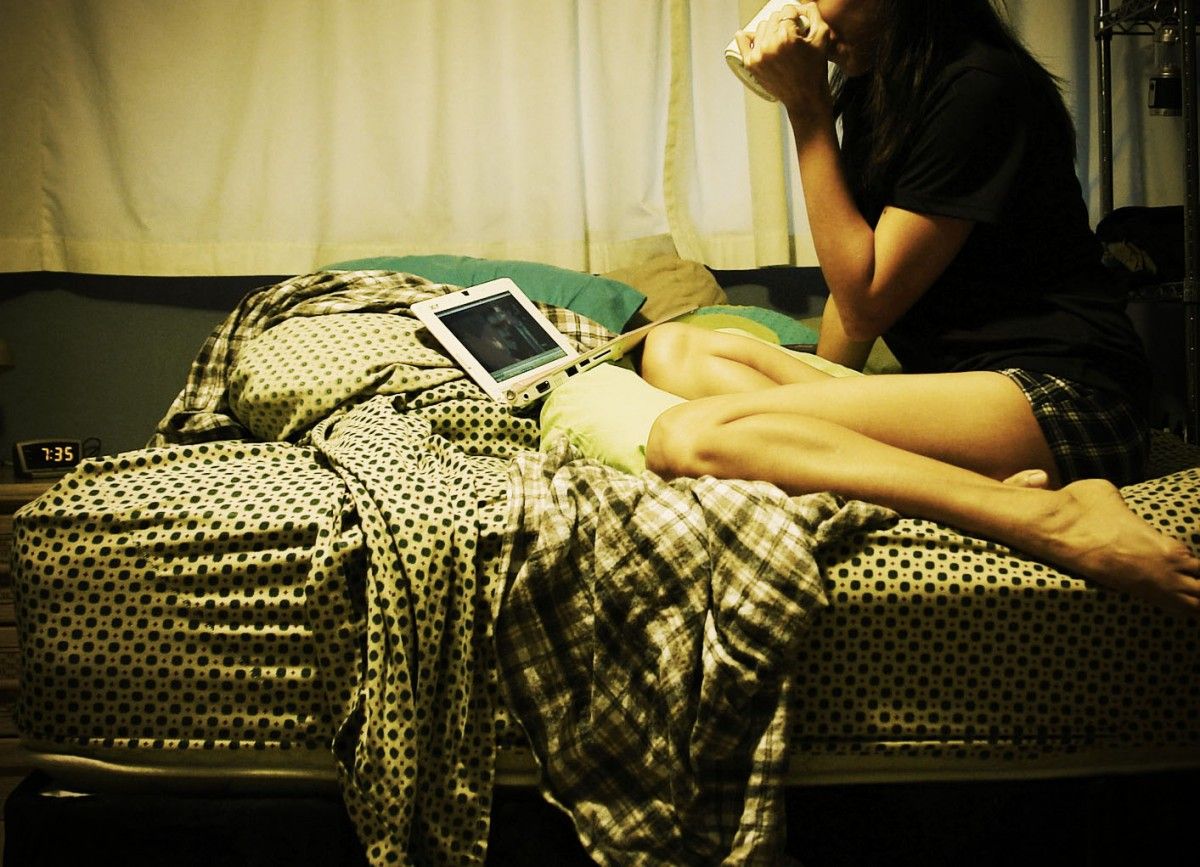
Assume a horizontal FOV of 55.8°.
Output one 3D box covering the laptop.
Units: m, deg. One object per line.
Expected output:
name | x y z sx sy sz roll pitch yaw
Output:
laptop | -0.098 -0.173 2.193 0.277 0.246 0.403 -27 6 33

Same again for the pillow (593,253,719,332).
pillow | 0.150 -0.348 2.710 0.234 0.081 0.202 -10 35 -9
